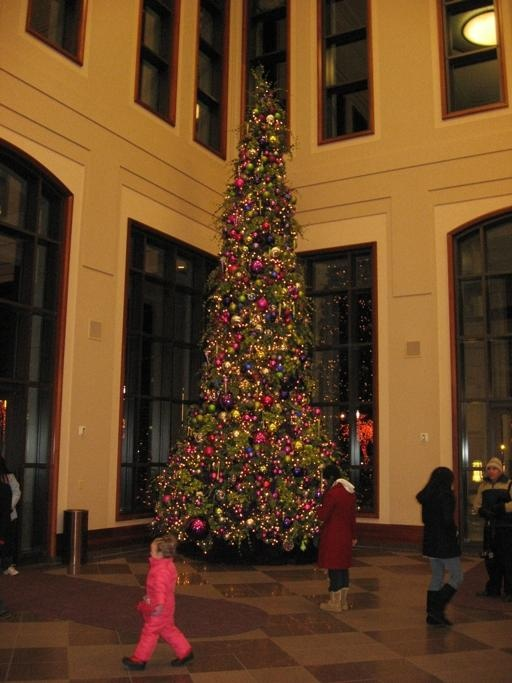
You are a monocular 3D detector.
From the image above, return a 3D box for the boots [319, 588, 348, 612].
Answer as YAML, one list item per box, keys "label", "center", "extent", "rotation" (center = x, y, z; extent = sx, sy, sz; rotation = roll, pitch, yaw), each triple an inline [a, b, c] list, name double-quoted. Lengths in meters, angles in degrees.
- label: "boots"
  center: [0.678, 2.102, 5.753]
  extent: [0.304, 0.173, 0.185]
  rotation: [8, -11, -41]

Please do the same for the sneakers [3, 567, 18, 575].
- label: "sneakers"
  center: [-2.485, 2.300, 7.074]
  extent: [0.149, 0.060, 0.068]
  rotation: [1, -1, 25]

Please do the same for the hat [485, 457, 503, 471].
- label: "hat"
  center: [2.275, 1.157, 6.668]
  extent: [0.128, 0.117, 0.181]
  rotation: [-9, -21, 39]

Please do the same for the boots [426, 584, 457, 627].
- label: "boots"
  center: [1.393, 1.963, 5.263]
  extent: [0.206, 0.308, 0.151]
  rotation: [-2, -9, 12]

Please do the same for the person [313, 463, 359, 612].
- label: "person"
  center: [0.677, 1.621, 5.847]
  extent: [0.305, 1.171, 0.579]
  rotation: [-1, -9, 7]

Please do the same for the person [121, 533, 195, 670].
- label: "person"
  center: [-0.520, 1.485, 3.975]
  extent: [0.406, 0.781, 0.407]
  rotation: [3, -10, -16]
